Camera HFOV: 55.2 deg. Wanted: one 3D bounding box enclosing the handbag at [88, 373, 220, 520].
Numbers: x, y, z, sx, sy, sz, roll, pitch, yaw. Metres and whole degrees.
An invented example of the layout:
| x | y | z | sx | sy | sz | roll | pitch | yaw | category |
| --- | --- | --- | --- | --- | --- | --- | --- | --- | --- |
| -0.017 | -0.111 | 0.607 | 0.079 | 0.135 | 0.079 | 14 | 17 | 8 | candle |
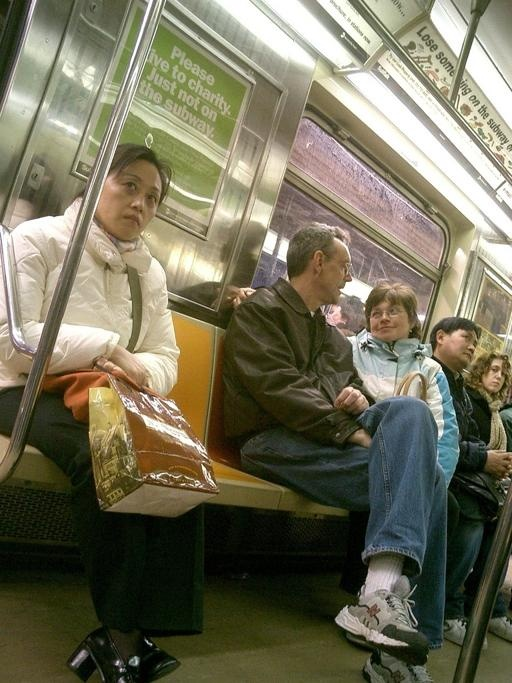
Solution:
| x | y | z | sx | sy | sz | roll | pitch | yaw | category |
| --- | --- | --- | --- | --- | --- | --- | --- | --- | --- |
| -0.202 | 0.188 | 0.934 | 0.203 | 0.138 | 0.238 | 34 | 30 | -51 | handbag |

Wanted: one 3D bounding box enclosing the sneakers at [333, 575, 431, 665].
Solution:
| x | y | z | sx | sy | sz | roll | pitch | yaw | category |
| --- | --- | --- | --- | --- | --- | --- | --- | --- | --- |
| 0.329 | 0.665 | 1.195 | 0.104 | 0.157 | 0.320 | 34 | -24 | -7 | sneakers |

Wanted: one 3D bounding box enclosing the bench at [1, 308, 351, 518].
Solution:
| x | y | z | sx | sy | sz | roll | pitch | yaw | category |
| --- | --- | --- | --- | --- | --- | --- | --- | --- | --- |
| -0.192 | 0.206 | 1.391 | 0.882 | 0.442 | 0.308 | 16 | -13 | -42 | bench |
